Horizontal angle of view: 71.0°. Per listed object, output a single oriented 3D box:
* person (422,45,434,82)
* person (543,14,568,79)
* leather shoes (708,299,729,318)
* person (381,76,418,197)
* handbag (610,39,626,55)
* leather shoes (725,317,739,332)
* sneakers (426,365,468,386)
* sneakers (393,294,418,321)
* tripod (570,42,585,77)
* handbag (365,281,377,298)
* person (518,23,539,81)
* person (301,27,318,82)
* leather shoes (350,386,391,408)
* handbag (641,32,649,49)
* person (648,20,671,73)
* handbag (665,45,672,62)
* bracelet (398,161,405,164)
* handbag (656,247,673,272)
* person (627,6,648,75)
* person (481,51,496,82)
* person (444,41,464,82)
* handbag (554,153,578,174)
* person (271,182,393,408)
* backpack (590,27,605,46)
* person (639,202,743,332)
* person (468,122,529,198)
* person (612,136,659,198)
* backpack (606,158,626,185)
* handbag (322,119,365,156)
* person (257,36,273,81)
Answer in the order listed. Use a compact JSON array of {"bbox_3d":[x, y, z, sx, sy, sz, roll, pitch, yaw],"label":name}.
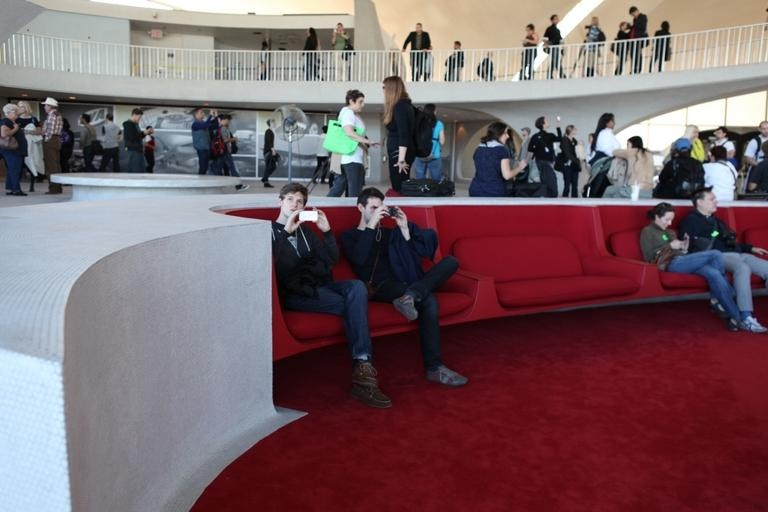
[{"bbox_3d":[1.140,-5.135,14.254,0.291,0.808,0.711,1,14,4],"label":"person"},{"bbox_3d":[4.226,-5.191,13.369,0.600,1.271,0.323,4,14,16],"label":"person"},{"bbox_3d":[2.632,0.418,4.236,0.053,0.068,0.150,-27,21,7],"label":"leather shoes"},{"bbox_3d":[0.134,-1.249,5.463,0.369,1.177,0.358,9,16,32],"label":"person"},{"bbox_3d":[5.601,-5.090,12.853,0.375,0.386,0.607,6,15,21],"label":"handbag"},{"bbox_3d":[2.640,0.524,4.076,0.043,0.055,0.134,-4,13,8],"label":"leather shoes"},{"bbox_3d":[0.362,0.718,3.212,0.208,0.092,0.107,0,7,16],"label":"sneakers"},{"bbox_3d":[0.119,0.286,3.212,0.192,0.093,0.090,34,27,31],"label":"sneakers"},{"bbox_3d":[4.773,-4.924,13.294,0.368,0.737,0.195,-6,15,-24],"label":"tripod"},{"bbox_3d":[-0.086,0.209,3.359,0.031,0.092,0.068,-13,4,-4],"label":"handbag"},{"bbox_3d":[3.583,-5.190,13.376,0.418,1.400,0.874,4,14,13],"label":"person"},{"bbox_3d":[-2.001,-5.644,14.742,0.390,1.455,0.921,-1,14,-6],"label":"person"},{"bbox_3d":[-0.073,0.775,2.998,0.244,0.164,0.085,0,2,29],"label":"leather shoes"},{"bbox_3d":[6.051,-5.113,12.470,0.181,0.286,0.375,7,15,24],"label":"handbag"},{"bbox_3d":[6.433,-4.962,12.488,0.425,1.161,0.837,7,15,24],"label":"person"},{"bbox_3d":[6.558,-4.748,12.419,0.253,0.315,0.104,-9,16,-34],"label":"handbag"},{"bbox_3d":[0.170,-0.957,5.340,0.075,0.032,0.050,-3,15,-16],"label":"bracelet"},{"bbox_3d":[2.330,0.020,4.491,0.116,0.213,0.058,19,-4,45],"label":"handbag"},{"bbox_3d":[5.932,-5.156,12.633,0.401,1.524,0.578,5,14,17],"label":"person"},{"bbox_3d":[2.682,-5.132,14.265,0.467,0.796,1.097,3,14,9],"label":"person"},{"bbox_3d":[1.837,-5.232,14.172,0.502,1.052,0.707,2,14,6],"label":"person"},{"bbox_3d":[3.009,-1.575,8.902,0.341,0.359,0.266,0,16,19],"label":"handbag"},{"bbox_3d":[-0.350,0.170,3.141,0.587,1.153,0.886,-3,14,-12],"label":"person"},{"bbox_3d":[5.094,-5.368,12.928,0.283,0.536,0.542,3,35,25],"label":"backpack"},{"bbox_3d":[2.532,0.034,4.395,0.406,0.851,0.916,-8,16,-32],"label":"person"},{"bbox_3d":[1.202,-1.063,5.990,0.489,0.893,1.338,3,14,9],"label":"person"},{"bbox_3d":[2.810,-1.027,6.060,0.458,0.670,1.257,7,15,24],"label":"person"},{"bbox_3d":[2.749,-1.033,6.420,0.104,0.286,0.220,4,3,20],"label":"backpack"},{"bbox_3d":[-0.446,-1.242,5.545,0.394,0.354,0.319,3,14,8],"label":"handbag"},{"bbox_3d":[-3.426,-5.774,15.375,0.350,1.327,1.790,-2,14,-11],"label":"person"}]
